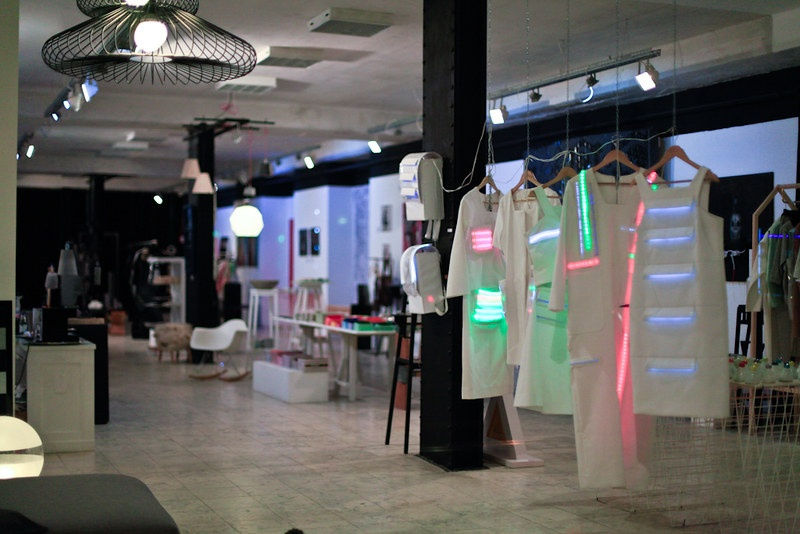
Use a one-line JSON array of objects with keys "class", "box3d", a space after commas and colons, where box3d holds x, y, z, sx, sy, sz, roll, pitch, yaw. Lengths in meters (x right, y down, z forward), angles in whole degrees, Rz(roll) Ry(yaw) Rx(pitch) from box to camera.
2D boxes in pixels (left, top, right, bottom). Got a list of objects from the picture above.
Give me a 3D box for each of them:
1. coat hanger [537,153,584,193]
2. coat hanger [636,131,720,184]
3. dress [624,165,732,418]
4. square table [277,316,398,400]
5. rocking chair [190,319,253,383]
[{"class": "coat hanger", "box3d": [1.931, -1.145, 8.032, 0.049, 0.765, 1.294, 7, 7, 34]}, {"class": "coat hanger", "box3d": [2.103, -0.785, 5.096, 0.040, 0.274, 0.636, -4, 5, -44]}, {"class": "dress", "box3d": [2.016, 0.175, 4.857, 0.651, 1.789, 0.162, 0, -3, 22]}, {"class": "square table", "box3d": [-0.909, 1.352, 10.354, 1.560, 1.122, 3.063, 1, -2, -12]}, {"class": "rocking chair", "box3d": [-2.889, 1.352, 10.864, 1.036, 1.025, 0.812, -3, -6, 23]}]
